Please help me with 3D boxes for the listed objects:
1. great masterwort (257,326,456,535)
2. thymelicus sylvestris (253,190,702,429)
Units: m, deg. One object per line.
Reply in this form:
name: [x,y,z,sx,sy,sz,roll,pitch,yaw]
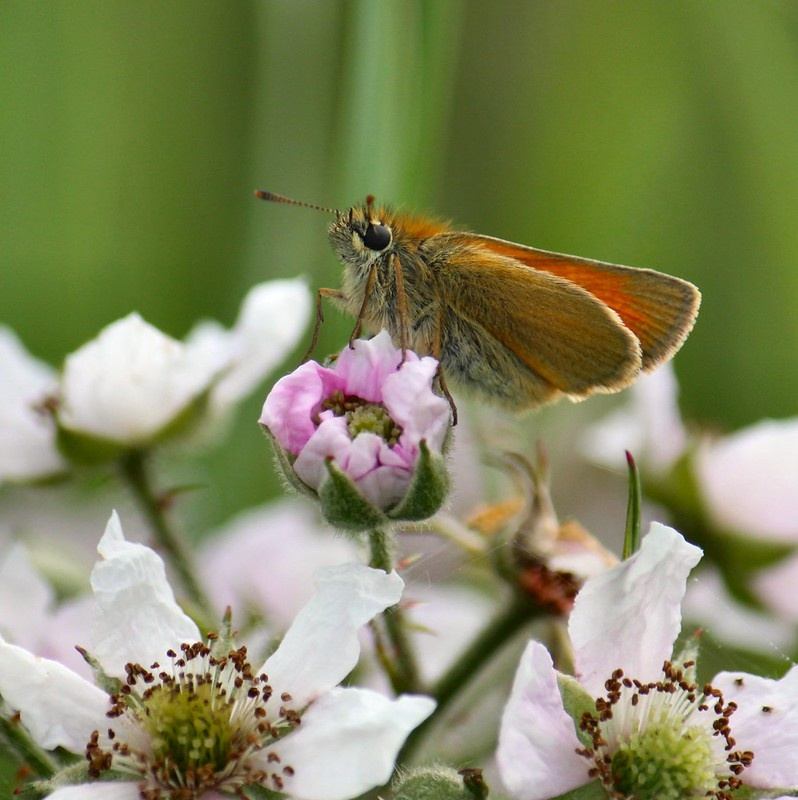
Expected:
great masterwort: [-0.023,0.028,1.046,0.133,0.130,0.134,-15,26,-41]
thymelicus sylvestris: [0.063,-0.096,1.274,0.399,0.211,0.340,19,10,-12]
